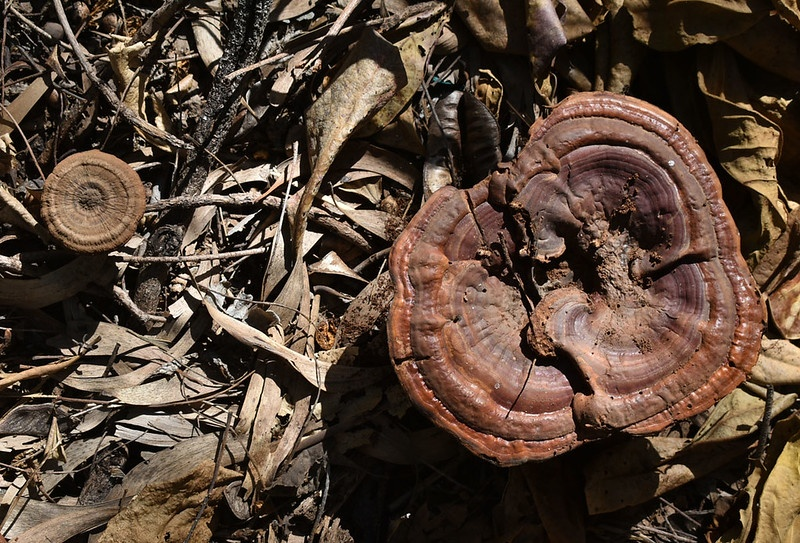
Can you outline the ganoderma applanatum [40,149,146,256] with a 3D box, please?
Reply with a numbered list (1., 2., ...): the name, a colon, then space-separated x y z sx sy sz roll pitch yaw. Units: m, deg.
1. ganoderma applanatum: -1.624 -0.357 4.505 0.523 0.481 0.279 -17 38 -21
